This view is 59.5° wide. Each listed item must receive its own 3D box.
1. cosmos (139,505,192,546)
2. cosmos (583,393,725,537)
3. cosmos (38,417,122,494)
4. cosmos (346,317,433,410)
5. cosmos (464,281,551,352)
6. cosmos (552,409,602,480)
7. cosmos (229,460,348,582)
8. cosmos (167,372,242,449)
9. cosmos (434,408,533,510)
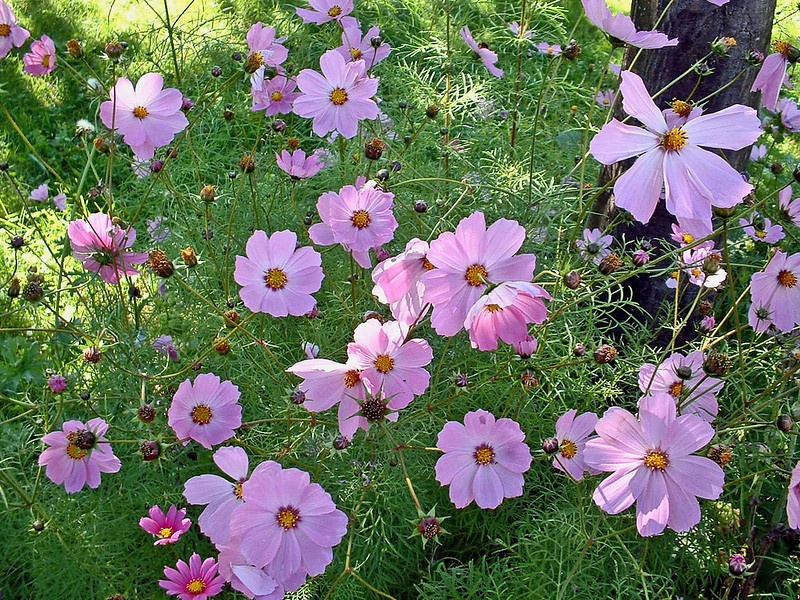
[{"bbox_3d":[-0.599,0.585,1.776,0.121,0.061,0.103,35,22,33],"label":"cosmos"},{"bbox_3d":[0.549,0.349,1.508,0.292,0.070,0.316,-33,37,4],"label":"cosmos"},{"bbox_3d":[-0.816,0.383,1.786,0.211,0.088,0.238,5,7,-18],"label":"cosmos"},{"bbox_3d":[-0.042,0.127,1.614,0.203,0.070,0.232,-13,25,25],"label":"cosmos"},{"bbox_3d":[0.240,0.018,1.601,0.167,0.171,0.073,-14,91,-16],"label":"cosmos"},{"bbox_3d":[0.446,0.358,1.769,0.146,0.061,0.176,-10,95,-6],"label":"cosmos"},{"bbox_3d":[-0.249,0.470,1.546,0.262,0.061,0.287,25,17,28],"label":"cosmos"},{"bbox_3d":[-0.508,0.295,1.817,0.177,0.145,0.165,-6,62,-15],"label":"cosmos"},{"bbox_3d":[0.199,0.365,1.676,0.271,0.063,0.253,-34,35,-32],"label":"cosmos"}]
